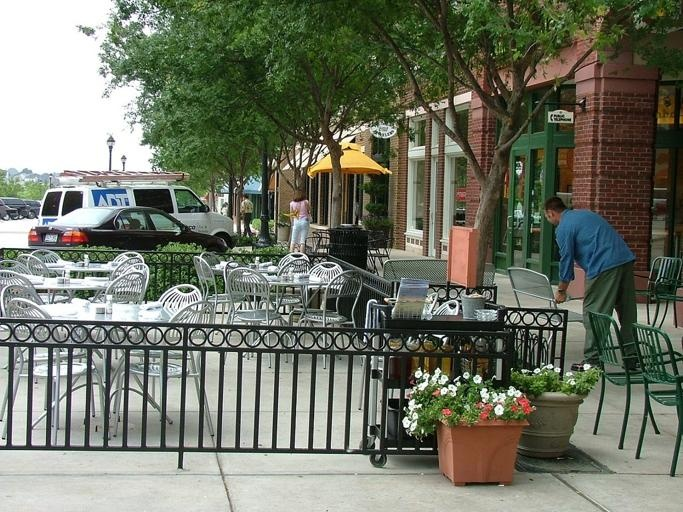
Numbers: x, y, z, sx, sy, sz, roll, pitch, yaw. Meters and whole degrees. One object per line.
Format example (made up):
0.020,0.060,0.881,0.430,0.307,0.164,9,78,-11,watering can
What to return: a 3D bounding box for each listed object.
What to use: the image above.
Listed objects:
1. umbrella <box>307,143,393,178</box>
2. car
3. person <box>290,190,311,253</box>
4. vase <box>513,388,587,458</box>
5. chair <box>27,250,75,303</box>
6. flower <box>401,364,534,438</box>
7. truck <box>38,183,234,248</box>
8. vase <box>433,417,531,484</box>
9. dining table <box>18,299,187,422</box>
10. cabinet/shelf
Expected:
0.110,-2.463,24.563,1.392,0.593,1.524,1,2,40,umbrella
-4.605,-0.700,19.632,3.738,1.115,1.665,-5,5,-45,car
-1.092,-0.825,23.100,0.457,1.659,0.977,1,11,-3,person
1.905,1.546,8.417,0.601,0.455,0.601,2,-6,-1,vase
-4.157,0.324,12.863,0.662,0.918,0.715,0,4,12,chair
1.012,1.272,7.611,0.764,0.348,0.765,1,-1,-8,flower
-5.213,-1.034,23.070,4.115,1.632,1.983,-4,3,-39,truck
1.225,1.682,7.985,0.865,0.613,0.751,0,-5,4,vase
-2.541,1.115,9.252,1.573,0.805,1.575,2,-2,-4,dining table
0.872,1.170,7.988,1.414,1.419,0.815,0,8,-4,cabinet/shelf
